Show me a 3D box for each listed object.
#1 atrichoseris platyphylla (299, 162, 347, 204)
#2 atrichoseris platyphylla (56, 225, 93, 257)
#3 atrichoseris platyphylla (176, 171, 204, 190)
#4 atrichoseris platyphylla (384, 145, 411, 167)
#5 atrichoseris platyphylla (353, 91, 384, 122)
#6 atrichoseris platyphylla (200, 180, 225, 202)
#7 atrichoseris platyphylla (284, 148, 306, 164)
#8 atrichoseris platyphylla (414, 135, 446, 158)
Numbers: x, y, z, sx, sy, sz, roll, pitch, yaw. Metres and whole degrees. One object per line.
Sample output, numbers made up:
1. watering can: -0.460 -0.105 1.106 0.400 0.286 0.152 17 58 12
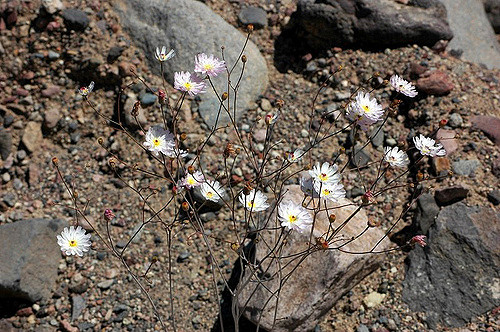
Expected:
1. atrichoseris platyphylla: 0.827 0.203 7.212 0.423 0.232 0.498 12 72 -1
2. atrichoseris platyphylla: -2.063 0.846 7.328 0.433 0.409 0.234 14 81 -47
3. atrichoseris platyphylla: -0.684 0.167 7.246 0.213 0.116 0.244 -13 31 21
4. atrichoseris platyphylla: 1.694 -0.110 7.316 0.233 0.127 0.266 21 40 -8
5. atrichoseris platyphylla: 1.324 -0.681 7.359 0.345 0.386 0.205 6 71 -5
6. atrichoseris platyphylla: -0.429 0.254 7.361 0.257 0.140 0.287 -7 51 -33
7. atrichoseris platyphylla: 0.551 -0.083 7.410 0.199 0.108 0.189 -41 44 -19
8. atrichoseris platyphylla: 2.139 -0.184 7.371 0.237 0.098 0.254 18 20 -29
